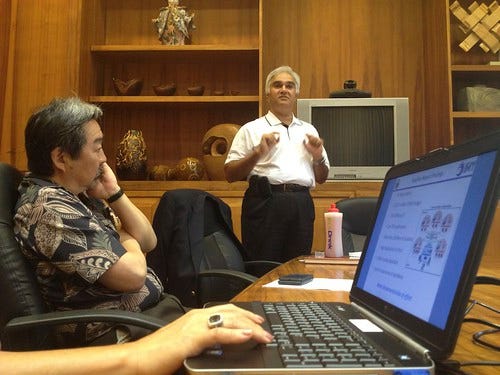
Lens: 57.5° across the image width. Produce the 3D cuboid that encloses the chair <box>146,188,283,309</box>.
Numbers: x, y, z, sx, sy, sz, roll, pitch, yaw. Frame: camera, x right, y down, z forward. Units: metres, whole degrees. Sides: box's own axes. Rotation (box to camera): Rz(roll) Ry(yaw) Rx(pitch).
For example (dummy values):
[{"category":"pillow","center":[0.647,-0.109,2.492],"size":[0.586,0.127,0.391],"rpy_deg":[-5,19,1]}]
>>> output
[{"category":"chair","center":[-0.160,0.308,2.196],"size":[0.518,0.751,0.452],"rpy_deg":[-17,-12,37]}]

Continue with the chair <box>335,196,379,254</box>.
[{"category":"chair","center":[0.515,0.211,2.395],"size":[0.255,0.369,0.304],"rpy_deg":[2,-8,-5]}]

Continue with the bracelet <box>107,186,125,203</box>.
[{"category":"bracelet","center":[-0.526,0.032,1.797],"size":[0.055,0.016,0.058],"rpy_deg":[-30,11,19]}]

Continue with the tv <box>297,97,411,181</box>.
[{"category":"tv","center":[0.785,-0.292,3.627],"size":[0.861,0.695,0.511],"rpy_deg":[1,-15,10]}]
